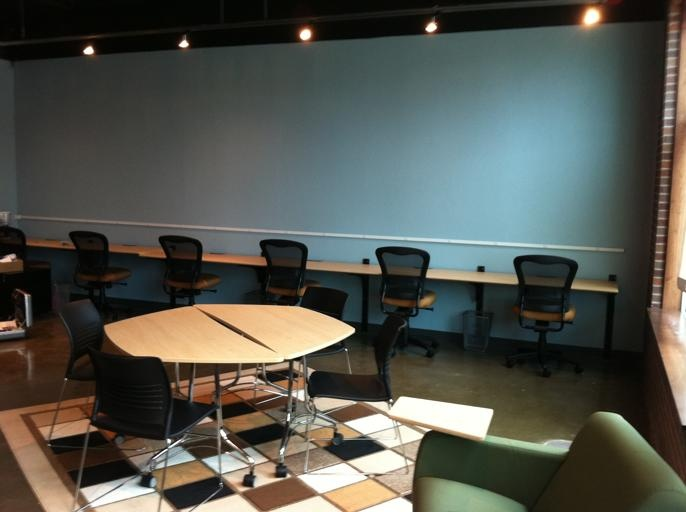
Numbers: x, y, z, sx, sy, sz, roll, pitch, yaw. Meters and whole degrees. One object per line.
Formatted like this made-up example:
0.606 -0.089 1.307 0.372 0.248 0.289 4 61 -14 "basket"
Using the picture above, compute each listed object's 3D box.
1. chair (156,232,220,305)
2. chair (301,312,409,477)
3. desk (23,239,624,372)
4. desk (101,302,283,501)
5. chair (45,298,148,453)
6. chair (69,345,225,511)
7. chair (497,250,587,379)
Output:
-2.046 0.249 6.910 0.667 1.182 0.757 15 16 23 "chair"
0.065 0.998 3.871 0.855 1.051 0.791 0 4 9 "chair"
-0.415 0.521 7.017 6.231 1.097 0.455 5 10 18 "desk"
-1.092 1.170 3.979 1.373 1.052 1.126 12 12 30 "desk"
-1.890 0.916 4.093 0.763 1.048 0.754 1 10 -25 "chair"
-1.262 1.070 3.356 0.894 1.047 0.646 3 12 12 "chair"
2.296 0.580 5.726 0.767 1.310 0.925 7 13 26 "chair"
